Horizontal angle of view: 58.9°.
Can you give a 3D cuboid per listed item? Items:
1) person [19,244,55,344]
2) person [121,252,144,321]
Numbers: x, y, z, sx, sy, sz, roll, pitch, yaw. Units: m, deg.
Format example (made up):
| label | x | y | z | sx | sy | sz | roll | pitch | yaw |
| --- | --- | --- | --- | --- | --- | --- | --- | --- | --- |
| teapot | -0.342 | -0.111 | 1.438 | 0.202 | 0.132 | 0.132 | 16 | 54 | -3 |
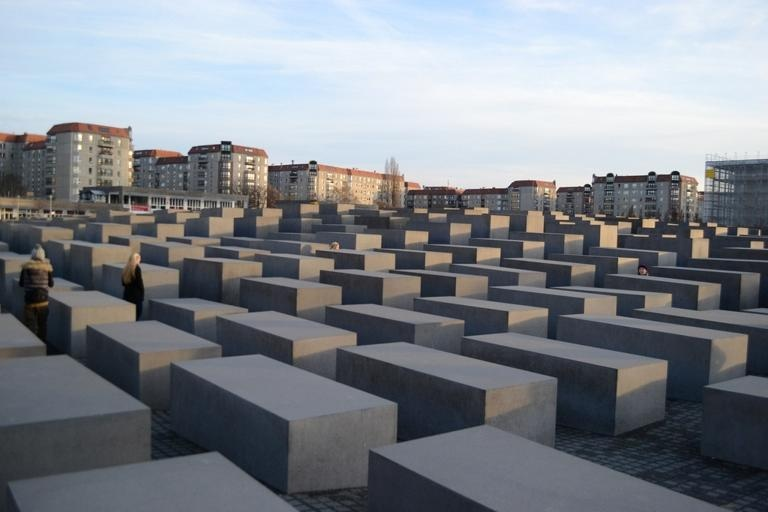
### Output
| label | x | y | z | sx | sy | sz | roll | pitch | yaw |
| --- | --- | --- | --- | --- | --- | --- | --- | --- | --- |
| person | -5.950 | 0.669 | 11.625 | 0.484 | 1.679 | 0.444 | -1 | 7 | -30 |
| person | -4.516 | 0.610 | 12.238 | 0.336 | 1.331 | 1.239 | 0 | 6 | -21 |
